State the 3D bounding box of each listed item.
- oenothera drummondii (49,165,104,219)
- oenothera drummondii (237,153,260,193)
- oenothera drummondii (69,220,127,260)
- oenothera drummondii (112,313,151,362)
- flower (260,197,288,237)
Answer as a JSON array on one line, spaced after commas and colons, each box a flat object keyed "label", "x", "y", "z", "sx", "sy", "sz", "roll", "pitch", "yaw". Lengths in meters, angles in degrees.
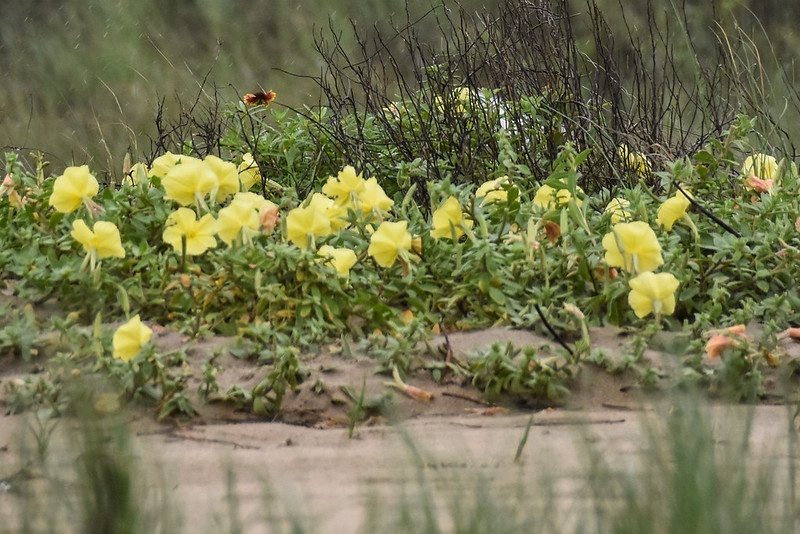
[{"label": "oenothera drummondii", "x": -1.798, "y": -0.407, "z": 8.074, "sx": 0.298, "sy": 0.279, "sz": 0.257, "roll": -6, "pitch": 7, "yaw": -3}, {"label": "oenothera drummondii", "x": -0.913, "y": -0.558, "z": 8.700, "sx": 0.160, "sy": 0.190, "sz": 0.064, "roll": 0, "pitch": -12, "yaw": -44}, {"label": "oenothera drummondii", "x": -1.635, "y": -0.151, "z": 7.912, "sx": 0.215, "sy": 0.230, "sz": 0.104, "roll": 9, "pitch": 39, "yaw": 16}, {"label": "oenothera drummondii", "x": -1.407, "y": 0.378, "z": 7.634, "sx": 0.081, "sy": 0.215, "sz": 0.221, "roll": 12, "pitch": 60, "yaw": 54}, {"label": "flower", "x": -0.695, "y": -0.266, "z": 7.929, "sx": 0.085, "sy": 0.170, "sz": 0.190, "roll": -3, "pitch": 8, "yaw": 22}]
